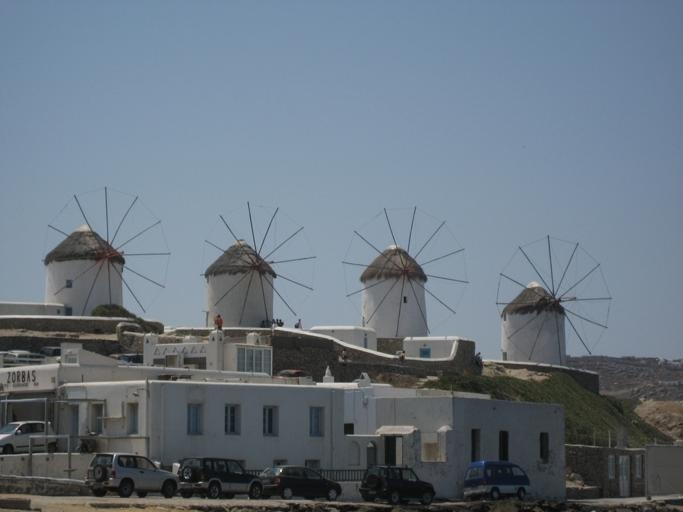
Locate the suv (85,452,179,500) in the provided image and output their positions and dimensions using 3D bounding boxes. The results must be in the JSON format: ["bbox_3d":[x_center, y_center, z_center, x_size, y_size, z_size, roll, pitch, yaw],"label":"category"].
[{"bbox_3d":[-9.835,9.902,65.097,3.326,2.272,3.136,-13,-16,36],"label":"suv"}]

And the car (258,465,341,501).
[{"bbox_3d":[-2.178,10.842,67.413,3.260,1.337,1.632,0,-3,-32],"label":"car"}]

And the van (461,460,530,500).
[{"bbox_3d":[7.670,11.414,71.636,2.879,1.821,1.770,-1,0,-31],"label":"van"}]

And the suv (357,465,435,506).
[{"bbox_3d":[2.531,11.095,68.910,2.568,2.032,3.018,4,-14,-42],"label":"suv"}]
